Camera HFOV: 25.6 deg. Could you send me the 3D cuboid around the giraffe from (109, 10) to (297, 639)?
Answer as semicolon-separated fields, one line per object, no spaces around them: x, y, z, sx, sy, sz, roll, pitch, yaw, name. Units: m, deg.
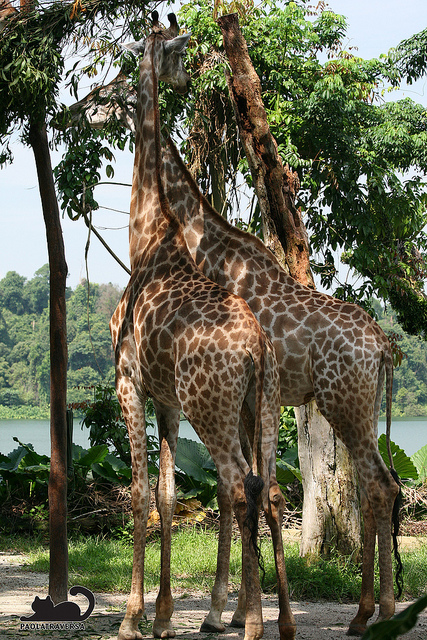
-0.122;-0.109;6.015;0.862;4.230;1.542;3;-7;-27;giraffe
